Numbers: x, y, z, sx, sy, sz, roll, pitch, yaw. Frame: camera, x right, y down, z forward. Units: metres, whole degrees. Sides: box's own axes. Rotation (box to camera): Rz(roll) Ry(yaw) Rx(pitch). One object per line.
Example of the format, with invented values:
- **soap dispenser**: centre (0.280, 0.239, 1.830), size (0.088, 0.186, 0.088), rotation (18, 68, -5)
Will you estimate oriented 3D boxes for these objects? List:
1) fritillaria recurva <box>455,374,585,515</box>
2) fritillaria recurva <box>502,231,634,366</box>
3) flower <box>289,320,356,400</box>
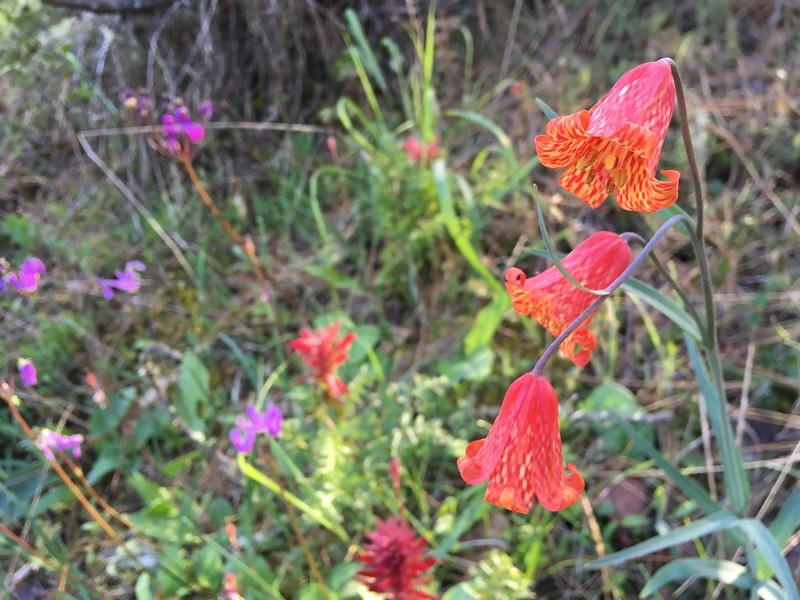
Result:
- **fritillaria recurva**: centre (0.380, 0.434, 2.484), size (0.331, 0.411, 0.414), rotation (8, 16, -10)
- **fritillaria recurva**: centre (0.596, -0.070, 2.675), size (0.463, 0.202, 0.473), rotation (-42, 21, 4)
- **flower**: centre (-0.286, 0.212, 2.713), size (0.198, 0.174, 0.237), rotation (10, 96, 32)
